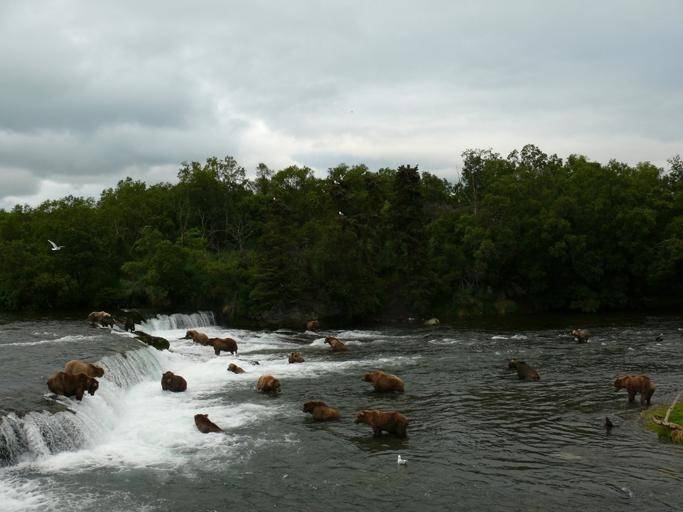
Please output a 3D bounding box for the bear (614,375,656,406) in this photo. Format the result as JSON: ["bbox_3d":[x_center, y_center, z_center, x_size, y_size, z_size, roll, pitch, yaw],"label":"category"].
[{"bbox_3d":[15.892,7.060,33.935,1.145,1.349,2.472,-2,7,-2],"label":"bear"}]

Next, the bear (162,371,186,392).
[{"bbox_3d":[-9.968,7.410,36.833,1.321,1.119,0.680,2,8,21],"label":"bear"}]

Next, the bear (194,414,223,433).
[{"bbox_3d":[-6.589,8.363,31.092,1.593,0.733,0.641,28,7,37],"label":"bear"}]

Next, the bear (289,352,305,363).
[{"bbox_3d":[-3.284,7.265,44.756,1.191,0.684,1.085,-1,7,-2],"label":"bear"}]
